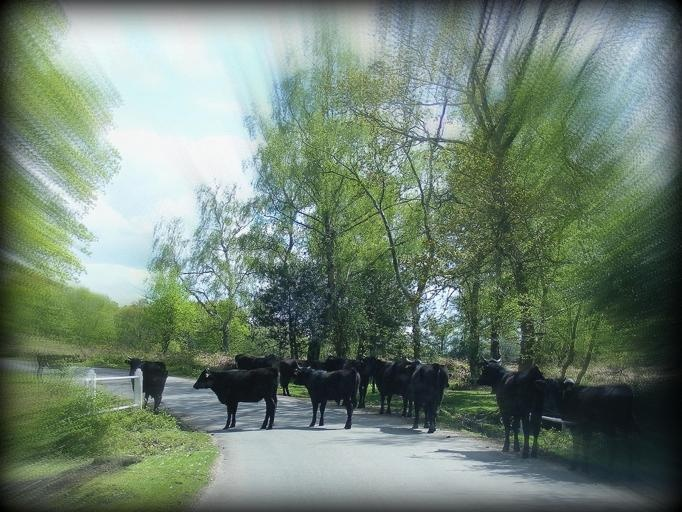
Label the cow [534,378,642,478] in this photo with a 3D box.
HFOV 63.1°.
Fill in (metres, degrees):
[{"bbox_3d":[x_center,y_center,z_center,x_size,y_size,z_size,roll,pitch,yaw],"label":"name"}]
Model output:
[{"bbox_3d":[5.402,3.521,12.114,0.967,1.667,3.457,0,-8,5],"label":"cow"}]
